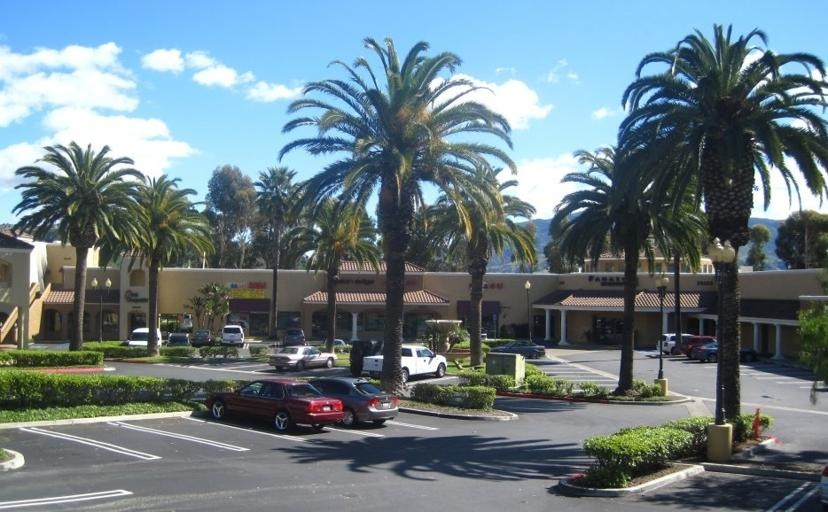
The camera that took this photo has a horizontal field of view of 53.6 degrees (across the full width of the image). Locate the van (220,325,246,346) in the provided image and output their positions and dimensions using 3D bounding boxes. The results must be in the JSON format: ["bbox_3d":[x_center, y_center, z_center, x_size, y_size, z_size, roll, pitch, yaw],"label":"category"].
[{"bbox_3d":[-15.856,6.852,71.837,1.282,1.195,2.572,0,3,-6],"label":"van"}]

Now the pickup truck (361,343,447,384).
[{"bbox_3d":[-0.492,7.312,56.039,3.435,2.543,6.984,-1,-3,31],"label":"pickup truck"}]

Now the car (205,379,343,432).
[{"bbox_3d":[-7.172,7.373,41.649,7.239,2.332,3.429,2,-4,35],"label":"car"}]

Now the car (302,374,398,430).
[{"bbox_3d":[-3.903,7.399,42.920,6.451,2.251,2.929,2,-1,34],"label":"car"}]

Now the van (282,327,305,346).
[{"bbox_3d":[-10.643,7.155,72.849,1.401,1.252,3.118,1,0,-10],"label":"van"}]
